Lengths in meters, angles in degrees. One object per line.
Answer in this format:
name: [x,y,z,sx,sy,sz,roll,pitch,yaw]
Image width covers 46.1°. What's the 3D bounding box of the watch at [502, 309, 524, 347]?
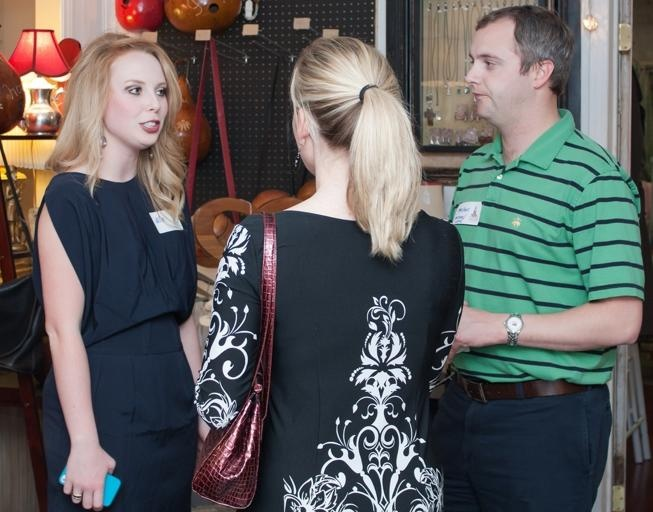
watch: [0.618,0.233,2.538,0.050,0.102,0.079,2,-9,15]
